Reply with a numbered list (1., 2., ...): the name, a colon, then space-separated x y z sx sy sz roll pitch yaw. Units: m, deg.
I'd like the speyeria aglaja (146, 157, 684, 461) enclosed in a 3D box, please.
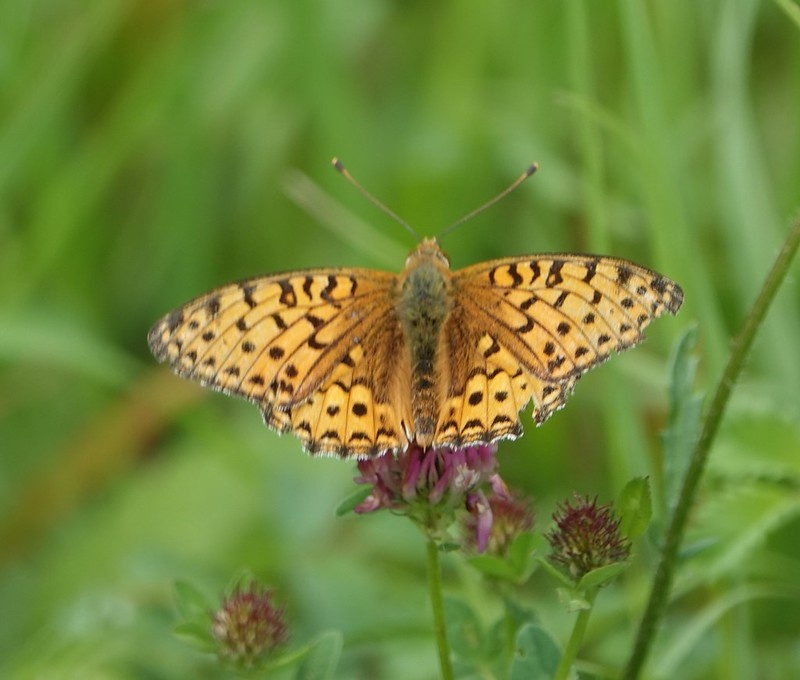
1. speyeria aglaja: 0.057 -0.049 2.938 1.617 0.544 0.679 3 45 0
